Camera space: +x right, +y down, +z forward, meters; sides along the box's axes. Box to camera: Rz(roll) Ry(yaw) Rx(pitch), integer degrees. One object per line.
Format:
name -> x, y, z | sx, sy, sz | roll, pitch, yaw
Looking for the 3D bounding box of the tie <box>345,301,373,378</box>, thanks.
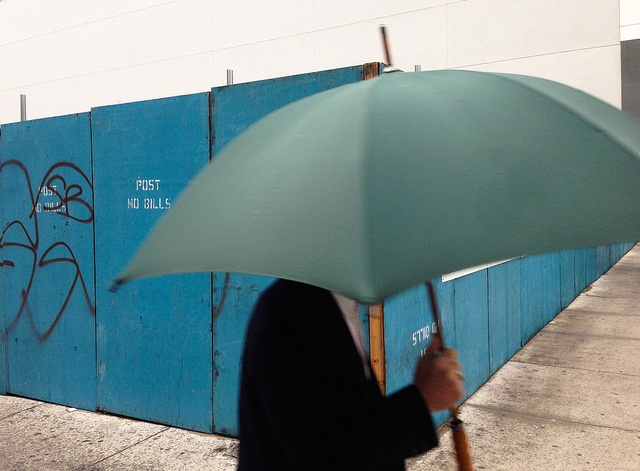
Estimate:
tie -> 0.272, 0.828, 5.908 | 0.173, 0.594, 0.078 | -1, -9, -21
